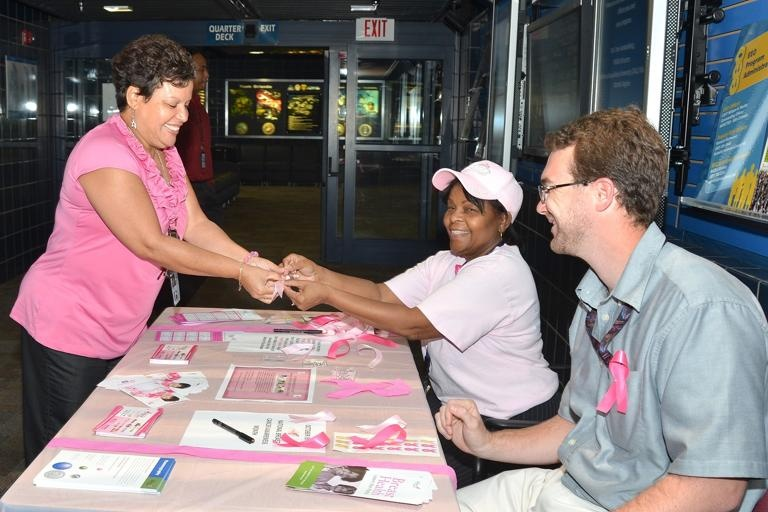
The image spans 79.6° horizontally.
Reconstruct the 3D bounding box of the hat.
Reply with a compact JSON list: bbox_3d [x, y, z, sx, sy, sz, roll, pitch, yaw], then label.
[{"bbox_3d":[0.460,-0.357,2.147,0.425,0.210,0.308,27,3,-40],"label":"hat"}]

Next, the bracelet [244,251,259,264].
[{"bbox_3d":[-0.738,0.003,2.555,0.030,0.081,0.087,24,-3,-31],"label":"bracelet"}]

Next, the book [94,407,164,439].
[{"bbox_3d":[-0.786,0.514,1.432,0.150,0.023,0.145,9,13,-2],"label":"book"}]

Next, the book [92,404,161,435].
[{"bbox_3d":[-0.796,0.516,1.438,0.163,0.025,0.179,10,6,-15],"label":"book"}]
